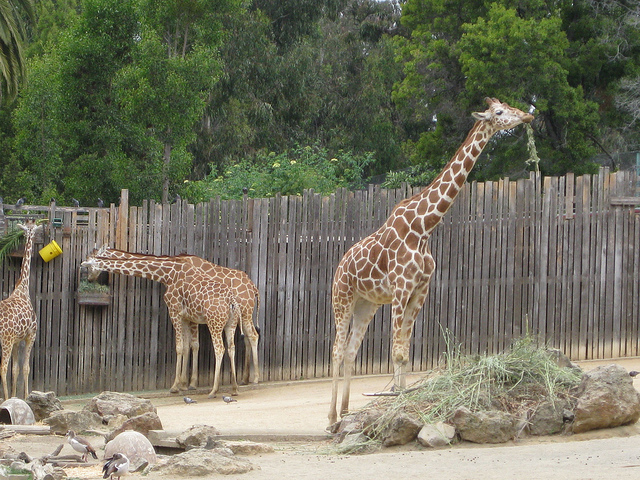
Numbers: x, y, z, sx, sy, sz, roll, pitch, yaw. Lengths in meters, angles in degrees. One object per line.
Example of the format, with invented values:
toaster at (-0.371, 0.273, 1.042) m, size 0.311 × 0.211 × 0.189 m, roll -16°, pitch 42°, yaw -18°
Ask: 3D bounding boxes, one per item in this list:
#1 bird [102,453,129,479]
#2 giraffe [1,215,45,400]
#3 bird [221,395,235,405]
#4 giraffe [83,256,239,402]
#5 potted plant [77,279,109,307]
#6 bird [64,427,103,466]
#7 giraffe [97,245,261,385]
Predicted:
bird at (-3.404, 3.798, 20.838) m, size 0.416 × 0.454 × 0.382 m, roll -1°, pitch -1°, yaw -1°
giraffe at (-6.011, 1.340, 25.005) m, size 0.793 × 3.692 × 1.073 m, roll -1°, pitch -1°, yaw 2°
bird at (-1.837, 3.203, 25.002) m, size 0.262 × 0.193 × 0.092 m, roll 0°, pitch -34°, yaw -25°
giraffe at (-2.989, 1.779, 25.665) m, size 2.525 × 2.920 × 1.078 m, roll -1°, pitch -1°, yaw -7°
potted plant at (-4.666, 1.087, 25.625) m, size 0.480 × 0.335 × 0.512 m, roll 4°, pitch 0°, yaw -5°
bird at (-4.101, 3.527, 21.471) m, size 0.648 × 0.562 × 0.253 m, roll 0°, pitch -19°, yaw 5°
giraffe at (-2.915, 1.679, 26.452) m, size 3.908 × 2.862 × 0.893 m, roll 2°, pitch 12°, yaw 12°
